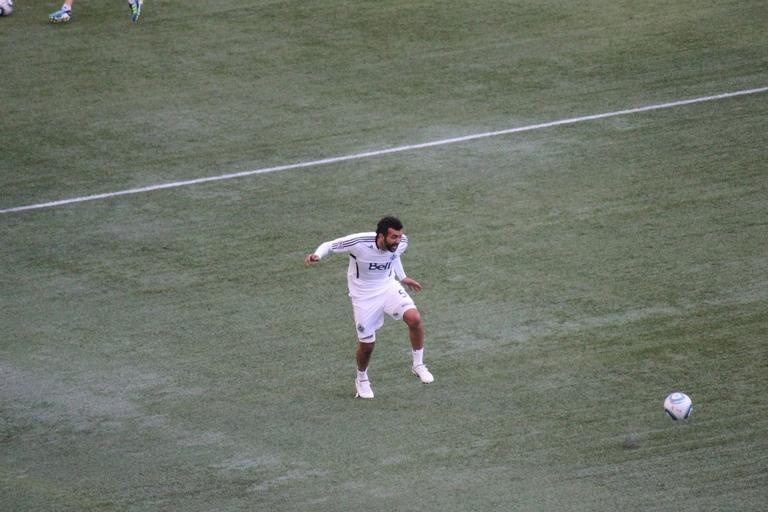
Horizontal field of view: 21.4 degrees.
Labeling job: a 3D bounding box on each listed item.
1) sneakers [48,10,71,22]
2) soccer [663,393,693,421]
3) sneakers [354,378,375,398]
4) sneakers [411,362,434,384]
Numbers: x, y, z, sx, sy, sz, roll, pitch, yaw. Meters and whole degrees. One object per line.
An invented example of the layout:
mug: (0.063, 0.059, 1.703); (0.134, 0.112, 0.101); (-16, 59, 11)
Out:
sneakers: (-5.010, -3.636, 31.371); (0.307, 0.125, 0.132); (-2, 88, -4)
soccer: (3.894, 2.104, 27.889); (0.432, 0.373, 0.351); (5, 67, -17)
sneakers: (-0.314, 1.823, 28.064); (0.175, 0.138, 0.330); (-17, 38, -26)
sneakers: (0.513, 1.639, 28.091); (0.186, 0.143, 0.355); (-35, 62, -26)
